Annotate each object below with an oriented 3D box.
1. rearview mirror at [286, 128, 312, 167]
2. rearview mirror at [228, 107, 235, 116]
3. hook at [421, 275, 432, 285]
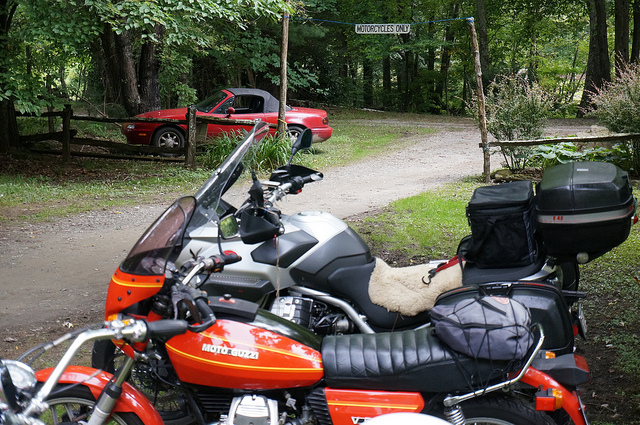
[{"bbox_3d":[-0.204,-0.664,6.137,0.090,0.406,0.209,28,2,-33],"label":"rearview mirror"},{"bbox_3d":[-2.470,-2.800,16.141,0.142,0.176,0.178,-1,-19,-22],"label":"rearview mirror"},{"bbox_3d":[1.081,0.684,5.962,0.071,0.092,0.034,-6,-6,2],"label":"hook"}]
